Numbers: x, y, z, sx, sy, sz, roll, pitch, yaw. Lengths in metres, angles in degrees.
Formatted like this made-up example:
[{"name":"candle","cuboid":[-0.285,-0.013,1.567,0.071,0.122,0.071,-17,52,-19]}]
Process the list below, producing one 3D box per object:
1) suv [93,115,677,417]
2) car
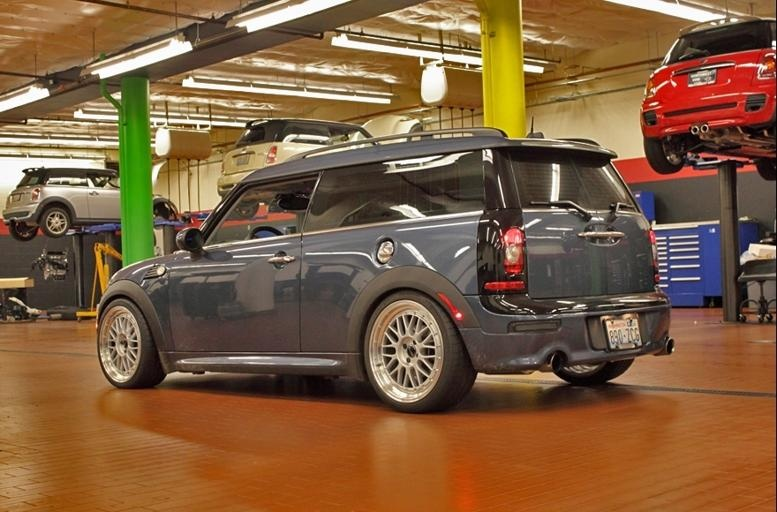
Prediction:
[{"name":"suv","cuboid":[-0.246,0.068,4.984,4.456,1.606,2.443,2,2,36]},{"name":"car","cuboid":[-1.919,-2.332,13.435,3.914,1.558,2.126,-5,2,-29]}]
